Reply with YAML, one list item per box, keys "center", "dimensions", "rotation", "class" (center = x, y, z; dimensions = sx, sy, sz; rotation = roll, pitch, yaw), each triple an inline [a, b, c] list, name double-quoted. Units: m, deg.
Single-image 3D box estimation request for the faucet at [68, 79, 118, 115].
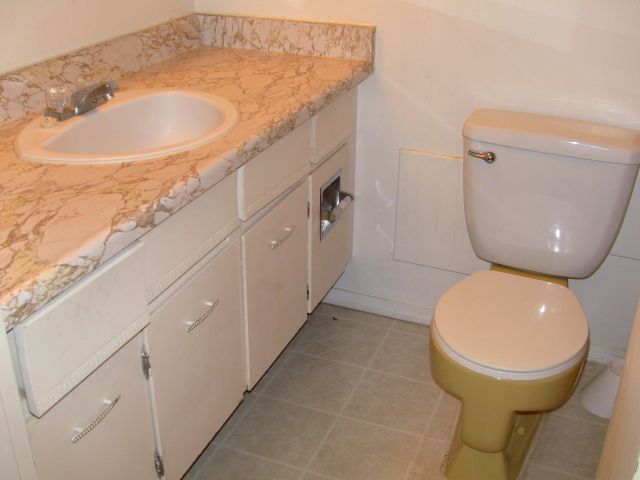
- center: [-0.645, -0.427, 1.541]
  dimensions: [0.058, 0.057, 0.181]
  rotation: [20, 36, 19]
  class: "faucet"
